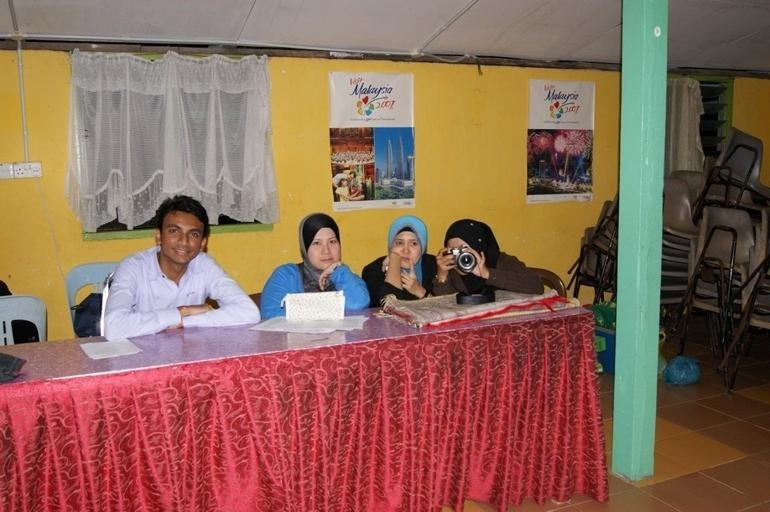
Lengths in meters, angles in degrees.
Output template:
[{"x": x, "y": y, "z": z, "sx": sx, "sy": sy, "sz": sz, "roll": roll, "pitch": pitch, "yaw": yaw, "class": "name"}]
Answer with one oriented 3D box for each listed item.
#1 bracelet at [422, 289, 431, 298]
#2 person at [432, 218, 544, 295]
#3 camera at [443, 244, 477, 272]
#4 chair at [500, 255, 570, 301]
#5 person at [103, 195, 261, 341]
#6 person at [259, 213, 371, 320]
[{"x": 0.311, "y": 0.284, "z": 4.607, "sx": 0.045, "sy": 0.057, "sz": 0.049, "roll": -7, "pitch": 9, "yaw": 13, "class": "bracelet"}, {"x": 0.647, "y": 0.036, "z": 4.579, "sx": 0.775, "sy": 0.633, "sz": 1.067, "roll": 1, "pitch": 8, "yaw": 9, "class": "person"}, {"x": 0.504, "y": 0.024, "z": 4.049, "sx": 0.203, "sy": 0.170, "sz": 0.223, "roll": 1, "pitch": 12, "yaw": 6, "class": "camera"}, {"x": 1.005, "y": 0.156, "z": 4.438, "sx": 0.500, "sy": 0.216, "sz": 0.406, "roll": 15, "pitch": 1, "yaw": 34, "class": "chair"}, {"x": -1.341, "y": 0.092, "z": 3.968, "sx": 0.976, "sy": 0.849, "sz": 0.684, "roll": 0, "pitch": 11, "yaw": -35, "class": "person"}, {"x": -0.574, "y": 0.073, "z": 4.652, "sx": 0.815, "sy": 0.825, "sz": 0.468, "roll": 0, "pitch": -3, "yaw": -18, "class": "person"}]
